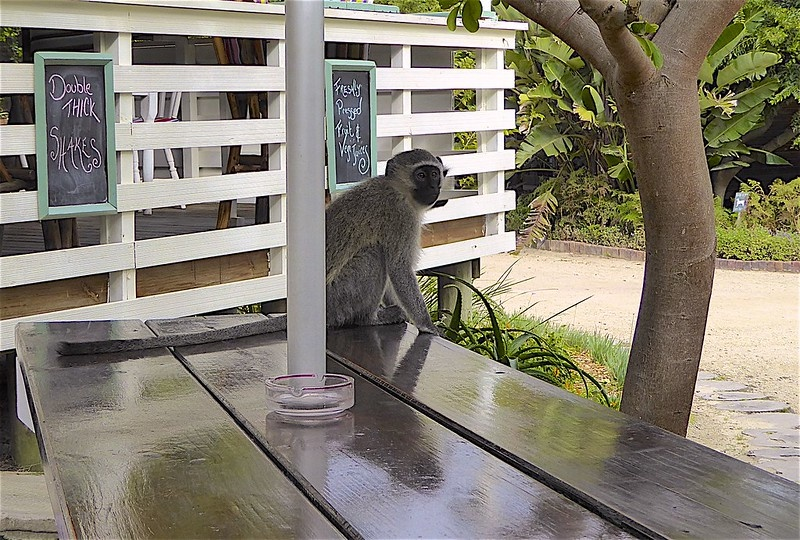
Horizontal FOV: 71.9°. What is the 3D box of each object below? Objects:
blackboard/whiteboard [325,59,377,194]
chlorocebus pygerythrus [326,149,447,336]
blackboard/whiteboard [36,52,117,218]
[{"bbox_3d":[-0.395,-1.175,4.478,0.073,1.009,0.571,9,16,40],"label":"blackboard/whiteboard"},{"bbox_3d":[-0.151,-0.174,3.162,0.779,1.000,0.592,2,6,19],"label":"chlorocebus pygerythrus"},{"bbox_3d":[-1.950,-0.802,3.338,0.067,0.972,0.485,21,23,26],"label":"blackboard/whiteboard"}]
